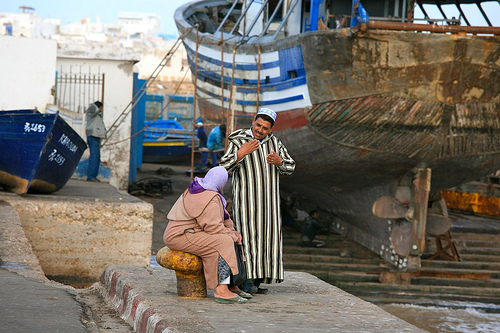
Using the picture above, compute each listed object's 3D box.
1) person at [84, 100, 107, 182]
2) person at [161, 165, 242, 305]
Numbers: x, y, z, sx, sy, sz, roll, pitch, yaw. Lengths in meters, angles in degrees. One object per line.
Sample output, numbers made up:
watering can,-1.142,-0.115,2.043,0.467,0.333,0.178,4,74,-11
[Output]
person,-3.104,-0.483,20.244,0.414,1.559,0.476,2,10,-10
person,-0.641,1.026,15.395,1.229,2.015,0.546,5,10,3
